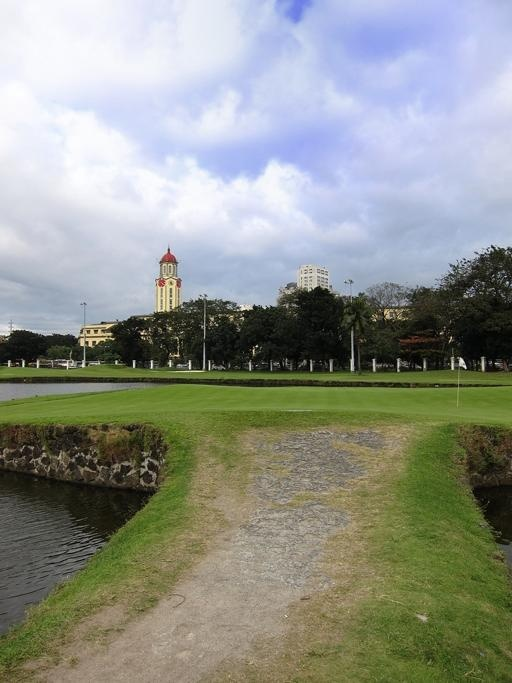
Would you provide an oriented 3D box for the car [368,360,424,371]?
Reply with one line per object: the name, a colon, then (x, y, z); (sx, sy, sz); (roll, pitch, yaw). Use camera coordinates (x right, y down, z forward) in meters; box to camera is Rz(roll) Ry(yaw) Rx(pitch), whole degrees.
car: (16.353, 2.782, 67.182); (6.320, 2.131, 1.656); (0, 0, 10)
